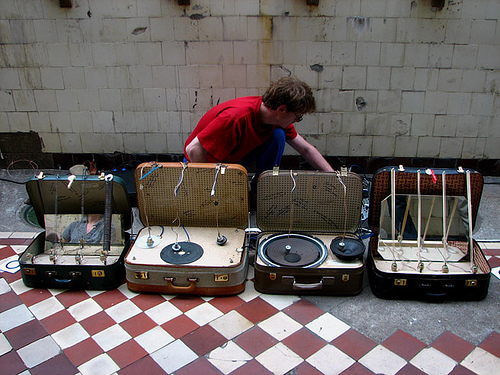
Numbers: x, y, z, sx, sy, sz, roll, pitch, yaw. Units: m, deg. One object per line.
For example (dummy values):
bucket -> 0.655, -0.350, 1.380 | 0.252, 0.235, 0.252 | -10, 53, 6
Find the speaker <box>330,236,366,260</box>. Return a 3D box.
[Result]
speaker -> 0.683, 0.425, 2.955 | 0.234, 0.095, 0.216 | 0, 14, 9

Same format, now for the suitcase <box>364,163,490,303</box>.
suitcase -> 1.240, 0.281, 2.938 | 0.777, 0.751, 0.648 | 0, 23, 4

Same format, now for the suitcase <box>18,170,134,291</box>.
suitcase -> -1.243, 0.299, 2.989 | 0.735, 0.777, 0.387 | -2, 15, 2

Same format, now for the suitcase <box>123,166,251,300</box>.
suitcase -> -0.435, 0.239, 2.982 | 0.846, 0.800, 0.688 | 2, 18, 5

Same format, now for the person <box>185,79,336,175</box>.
person -> 0.078, -0.428, 3.341 | 1.123, 0.801, 0.802 | -13, 18, -35

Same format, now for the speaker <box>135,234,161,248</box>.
speaker -> -0.730, 0.382, 3.030 | 0.103, 0.031, 0.102 | 2, 27, 3
